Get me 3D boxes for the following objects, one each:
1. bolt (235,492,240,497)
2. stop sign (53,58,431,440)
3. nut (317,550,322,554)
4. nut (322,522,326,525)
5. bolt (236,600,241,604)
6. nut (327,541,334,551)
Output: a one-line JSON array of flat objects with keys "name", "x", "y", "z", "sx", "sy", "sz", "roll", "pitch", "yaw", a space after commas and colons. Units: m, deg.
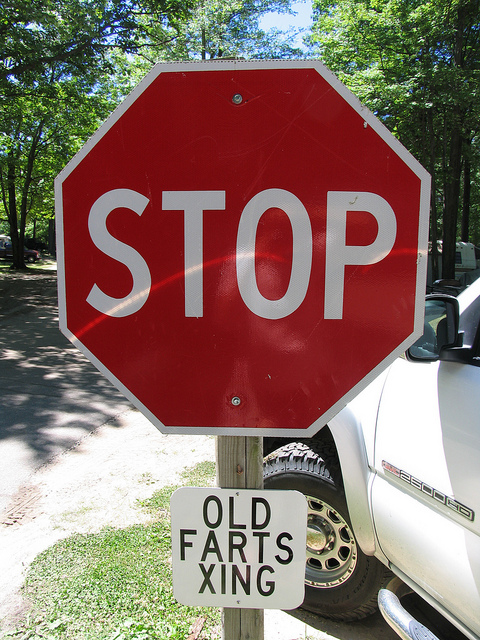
[{"name": "bolt", "x": -0.007, "y": 0.413, "z": 1.321, "sx": 0.009, "sy": 0.012, "sz": 0.002, "roll": 2, "pitch": 7, "yaw": -7}, {"name": "stop sign", "x": -0.006, "y": -0.134, "z": 1.262, "sx": 0.826, "sy": 0.870, "sz": 0.120, "roll": 3, "pitch": 7, "yaw": 5}, {"name": "nut", "x": 0.352, "y": 1.041, "z": 2.505, "sx": 0.013, "sy": 0.019, "sz": 0.005, "roll": 7, "pitch": -3, "yaw": 9}, {"name": "nut", "x": 0.371, "y": 0.906, "z": 2.487, "sx": 0.014, "sy": 0.017, "sz": 0.006, "roll": -3, "pitch": 3, "yaw": 16}, {"name": "bolt", "x": -0.005, "y": 0.672, "z": 1.330, "sx": 0.009, "sy": 0.008, "sz": 0.008, "roll": 0, "pitch": 1, "yaw": 1}, {"name": "nut", "x": 0.398, "y": 1.002, "z": 2.477, "sx": 0.008, "sy": 0.031, "sz": 0.023, "roll": 31, "pitch": -14, "yaw": -13}]
